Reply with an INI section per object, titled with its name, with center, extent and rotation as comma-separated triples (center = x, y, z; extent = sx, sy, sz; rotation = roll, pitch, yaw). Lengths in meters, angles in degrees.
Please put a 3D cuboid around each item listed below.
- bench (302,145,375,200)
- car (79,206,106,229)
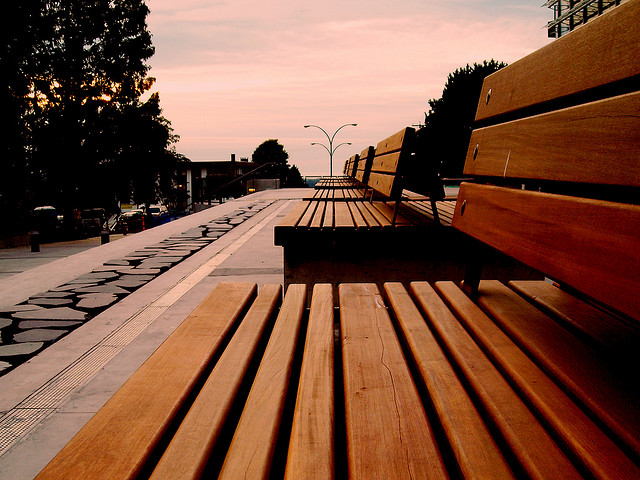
[bench]
center = 0.392, -1.391, 10.050
extent = 1.353, 1.345, 3.771
rotation = -4, 12, -1
[car]
center = -16.390, -1.691, 31.344
extent = 1.170, 0.600, 2.519
rotation = -7, 33, -4
